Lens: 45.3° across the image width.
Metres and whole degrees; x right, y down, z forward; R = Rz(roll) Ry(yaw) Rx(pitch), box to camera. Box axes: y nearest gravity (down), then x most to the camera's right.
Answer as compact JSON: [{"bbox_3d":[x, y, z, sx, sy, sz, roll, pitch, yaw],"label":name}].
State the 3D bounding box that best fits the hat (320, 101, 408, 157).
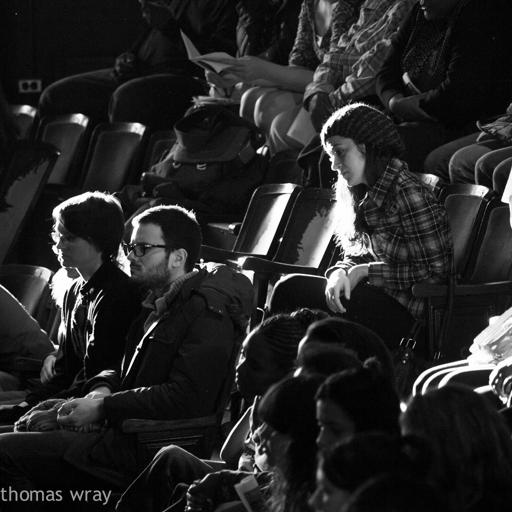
[{"bbox_3d":[0.389,-0.456,2.242,0.226,0.154,0.193,13,-6,-6],"label":"hat"}]
